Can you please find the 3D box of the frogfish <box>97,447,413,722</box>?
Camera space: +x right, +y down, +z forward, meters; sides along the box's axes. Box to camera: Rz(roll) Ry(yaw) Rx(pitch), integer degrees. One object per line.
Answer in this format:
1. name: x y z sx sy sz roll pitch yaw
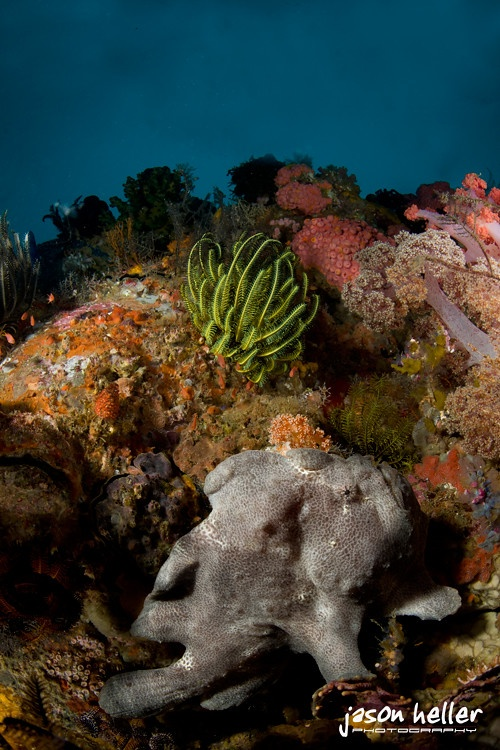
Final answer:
1. frogfish: 0.060 1.384 5.261 2.197 1.622 1.397 -12 26 -24
